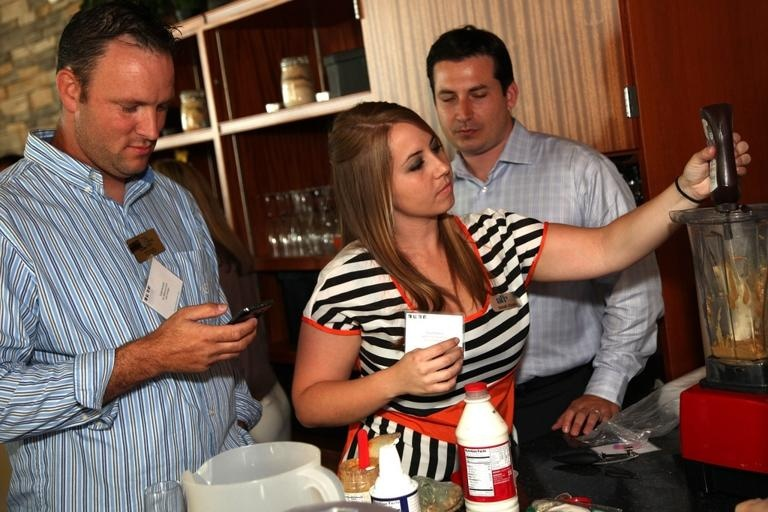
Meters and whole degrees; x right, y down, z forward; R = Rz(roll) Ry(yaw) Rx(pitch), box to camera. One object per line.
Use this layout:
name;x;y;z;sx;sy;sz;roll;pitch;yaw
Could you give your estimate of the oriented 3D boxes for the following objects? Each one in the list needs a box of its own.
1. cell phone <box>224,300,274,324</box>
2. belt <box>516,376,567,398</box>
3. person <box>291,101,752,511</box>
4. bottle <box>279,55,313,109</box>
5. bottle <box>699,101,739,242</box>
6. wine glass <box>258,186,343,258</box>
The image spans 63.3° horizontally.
cell phone;-0.372;0.155;1.806;0.126;0.066;0.168;-6;7;0
belt;0.620;0.512;2.482;0.117;0.045;0.087;-12;-8;-25
person;0.446;0.656;2.259;1.204;2.332;0.705;-4;30;3
bottle;-0.468;-0.942;3.353;0.175;0.287;0.208;-6;7;-7
bottle;0.889;-0.226;1.620;0.088;0.335;0.099;-4;7;11
wine glass;-0.458;-0.187;3.481;0.372;0.347;0.128;-5;1;26
